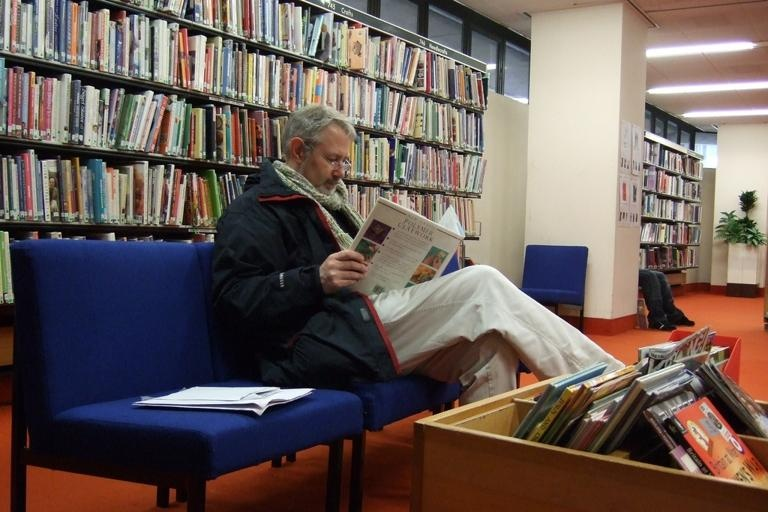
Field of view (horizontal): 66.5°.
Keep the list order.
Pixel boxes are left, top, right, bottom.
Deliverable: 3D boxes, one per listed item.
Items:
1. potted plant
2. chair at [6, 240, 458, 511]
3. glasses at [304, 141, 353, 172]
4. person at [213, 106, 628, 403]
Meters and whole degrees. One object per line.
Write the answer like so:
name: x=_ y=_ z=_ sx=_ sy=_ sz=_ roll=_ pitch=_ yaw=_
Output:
potted plant: x=6.598 y=-0.249 z=10.835 sx=0.758 sy=1.913 sz=0.569 roll=3 pitch=6 yaw=30
chair: x=-0.504 y=0.373 z=1.949 sx=0.530 sy=0.636 sz=0.954 roll=-2 pitch=-2 yaw=26
glasses: x=-0.251 y=-0.411 z=2.506 sx=0.162 sy=0.069 sz=0.134 roll=-5 pitch=-3 yaw=24
person: x=0.137 y=0.020 z=2.309 sx=1.445 sy=1.088 sz=0.656 roll=4 pitch=11 yaw=5
